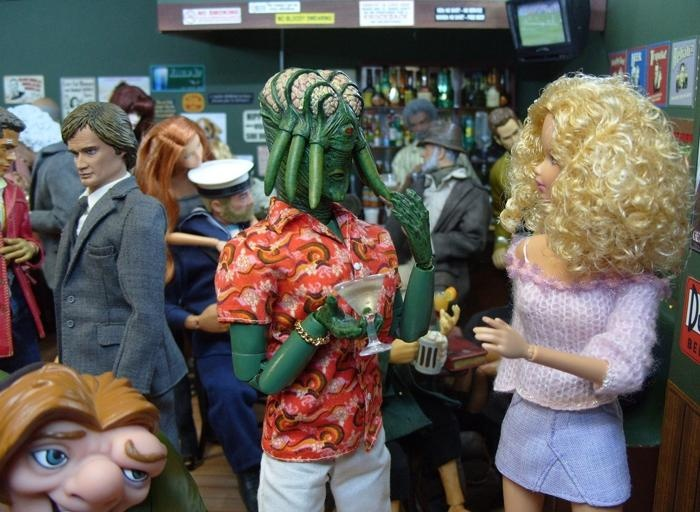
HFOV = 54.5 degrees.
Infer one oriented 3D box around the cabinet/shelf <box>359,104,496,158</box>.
[{"bbox_3d":[0.660,-1.025,5.553,0.767,0.462,1.090,-8,12,-24],"label":"cabinet/shelf"}]
